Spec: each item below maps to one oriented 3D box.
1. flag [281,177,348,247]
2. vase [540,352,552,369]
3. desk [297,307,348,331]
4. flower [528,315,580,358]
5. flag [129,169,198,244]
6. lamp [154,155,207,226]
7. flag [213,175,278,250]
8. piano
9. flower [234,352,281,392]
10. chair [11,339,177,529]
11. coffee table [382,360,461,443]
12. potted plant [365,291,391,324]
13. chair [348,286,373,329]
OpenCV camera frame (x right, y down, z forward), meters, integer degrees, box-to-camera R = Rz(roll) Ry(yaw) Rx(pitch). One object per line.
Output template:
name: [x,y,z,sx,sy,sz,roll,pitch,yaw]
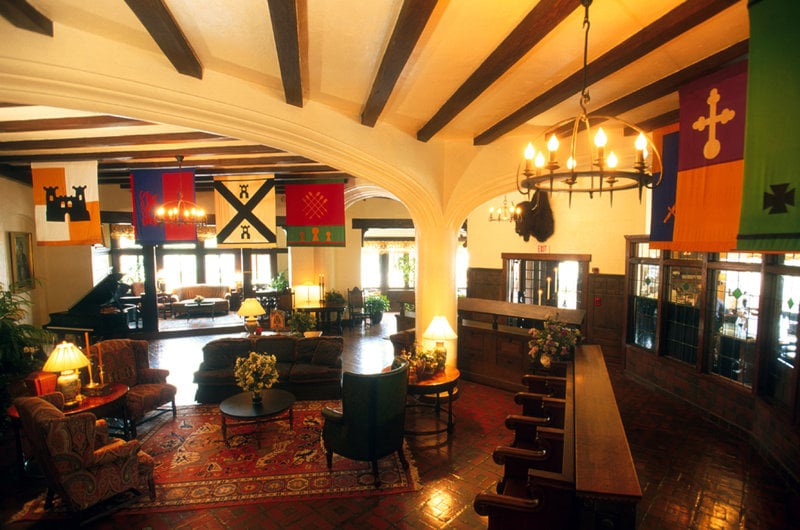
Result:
flag: [-1.766,-1.126,11.462,1.819,1.702,0.187,0,2,0]
vase: [2.643,1.753,10.123,0.238,0.300,0.303,-1,1,21]
desk: [-2.169,1.549,16.188,1.054,0.812,2.162,-1,1,4]
flower: [2.866,1.317,10.376,0.841,0.857,0.874,-3,9,11]
flag: [-4.649,-1.168,10.919,1.650,1.859,0.205,0,-1,-5]
lamp: [-4.343,-1.107,10.944,0.921,0.709,0.580,-2,1,-26]
flag: [-3.244,-1.149,11.582,1.768,1.854,0.086,-1,2,0]
piano: [-7.710,1.086,14.107,2.293,2.054,1.634,2,-3,-20]
flower: [-2.439,1.850,9.372,0.699,0.693,0.518,-1,1,0]
chair: [-4.261,2.431,8.068,1.838,2.207,1.842,10,15,42]
coffee table: [0.482,2.466,9.828,1.388,1.032,1.427,-1,0,2]
potted plant: [-0.767,1.365,17.585,0.905,0.921,0.950,-2,0,1]
chair: [-1.302,1.268,17.158,0.625,1.211,0.785,-2,1,-16]
